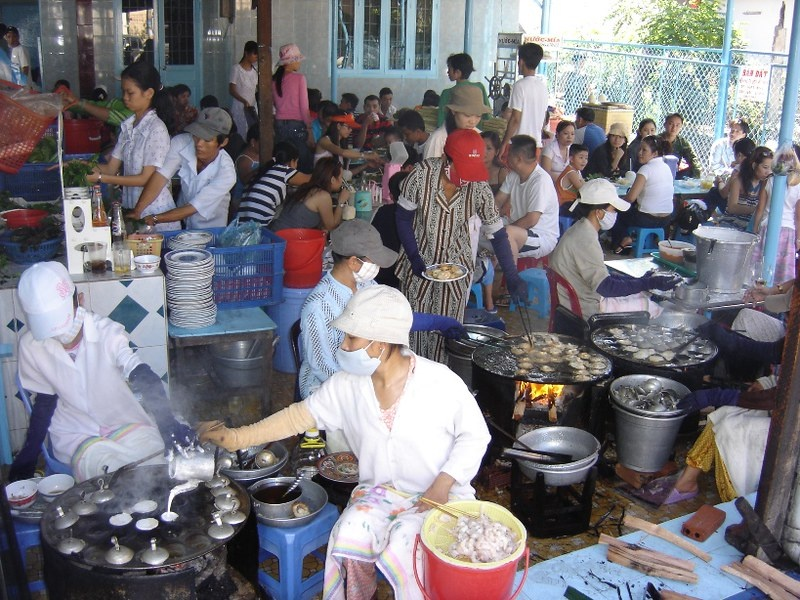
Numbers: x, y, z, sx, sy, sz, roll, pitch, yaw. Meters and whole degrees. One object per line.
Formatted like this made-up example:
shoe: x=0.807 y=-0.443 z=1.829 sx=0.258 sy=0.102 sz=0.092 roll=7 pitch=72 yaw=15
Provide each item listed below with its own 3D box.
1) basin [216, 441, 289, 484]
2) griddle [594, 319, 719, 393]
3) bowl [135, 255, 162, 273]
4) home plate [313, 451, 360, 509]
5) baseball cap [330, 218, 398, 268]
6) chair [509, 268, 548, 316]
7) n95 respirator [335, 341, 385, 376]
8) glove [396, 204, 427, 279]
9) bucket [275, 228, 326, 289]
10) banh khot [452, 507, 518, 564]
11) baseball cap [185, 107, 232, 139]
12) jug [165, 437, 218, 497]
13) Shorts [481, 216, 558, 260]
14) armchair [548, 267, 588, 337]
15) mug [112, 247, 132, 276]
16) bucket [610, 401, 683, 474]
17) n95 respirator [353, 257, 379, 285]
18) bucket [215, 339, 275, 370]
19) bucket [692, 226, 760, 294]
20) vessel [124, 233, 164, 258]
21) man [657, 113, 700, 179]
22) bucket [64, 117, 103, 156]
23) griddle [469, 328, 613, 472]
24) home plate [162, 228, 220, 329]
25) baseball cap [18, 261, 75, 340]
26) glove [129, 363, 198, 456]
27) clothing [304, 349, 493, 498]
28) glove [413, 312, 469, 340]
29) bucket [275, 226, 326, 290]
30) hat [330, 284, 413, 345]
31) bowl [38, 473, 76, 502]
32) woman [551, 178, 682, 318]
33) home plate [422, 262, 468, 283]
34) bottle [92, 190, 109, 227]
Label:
basin: x=-0.864 y=0.978 z=3.705 sx=0.223 sy=0.080 sz=0.222 roll=-2 pitch=18 yaw=1
griddle: x=2.056 y=0.513 z=4.950 sx=0.829 sy=0.276 sz=0.794 roll=3 pitch=17 yaw=39
bowl: x=-1.812 y=-0.257 z=4.467 sx=0.138 sy=0.085 sz=0.139 roll=-8 pitch=27 yaw=4
home plate: x=-0.357 y=1.058 z=3.771 sx=0.283 sy=0.177 sz=0.285 roll=27 pitch=34 yaw=30
baseball cap: x=-0.244 y=-0.383 z=4.265 sx=0.408 sy=0.211 sz=0.272 roll=10 pitch=28 yaw=-10
chair: x=1.369 y=-0.072 z=6.480 sx=0.388 sy=0.368 sz=0.389 roll=15 pitch=26 yaw=35
n95 respirator: x=-0.194 y=0.316 z=3.070 sx=0.155 sy=0.105 sz=0.188 roll=14 pitch=34 yaw=41
glove: x=0.118 y=-0.494 z=5.212 sx=0.168 sy=0.597 sz=0.367 roll=-8 pitch=19 yaw=-28
bucket: x=-0.887 y=-0.395 z=5.626 sx=0.516 sy=0.455 sz=0.474 roll=2 pitch=14 yaw=0
banh khot: x=0.355 y=1.024 z=2.695 sx=0.176 sy=0.053 sz=0.177 roll=9 pitch=18 yaw=28
baseball cap: x=-1.662 y=-1.538 z=5.435 sx=0.366 sy=0.179 sz=0.254 roll=-37 pitch=79 yaw=-31
jug: x=-1.036 y=0.825 z=3.110 sx=0.218 sy=0.297 sz=0.172 roll=-7 pitch=8 yaw=-17
Shorts: x=1.503 y=-0.743 z=7.316 sx=0.744 sy=0.482 sz=0.626 roll=-7 pitch=18 yaw=-3
armchair: x=1.507 y=0.014 z=5.500 sx=0.346 sy=0.543 sz=0.385 roll=0 pitch=33 yaw=6
mug: x=-1.959 y=-0.276 z=4.402 sx=0.142 sy=0.192 sz=0.147 roll=-6 pitch=18 yaw=-23
bucket: x=1.864 y=0.980 z=4.504 sx=0.572 sy=0.521 sz=0.587 roll=-6 pitch=-2 yaw=0
n95 respirator: x=-0.222 y=-0.180 z=4.246 sx=0.158 sy=0.102 sz=0.140 roll=37 pitch=24 yaw=15
bucket: x=-1.309 y=0.435 z=5.097 sx=0.328 sy=0.120 sz=0.319 roll=-1 pitch=13 yaw=0
bucket: x=3.072 y=-0.362 z=5.899 sx=0.570 sy=0.536 sz=0.533 roll=2 pitch=14 yaw=-1
vessel: x=-1.918 y=-0.421 z=4.677 sx=0.238 sy=0.126 sz=0.183 roll=1 pitch=29 yaw=-8
man: x=4.707 y=-2.653 z=10.738 sx=0.786 sy=1.079 sz=0.633 roll=-3 pitch=14 yaw=1
bucket: x=-4.137 y=-2.095 z=8.034 sx=0.460 sy=0.418 sz=0.583 roll=7 pitch=13 yaw=27
griddle: x=0.932 y=0.666 z=4.475 sx=0.771 sy=0.505 sz=0.774 roll=-12 pitch=19 yaw=-37
home plate: x=-1.622 y=-0.126 z=4.856 sx=0.368 sy=0.572 sz=0.576 roll=-4 pitch=17 yaw=-17
baseball cap: x=-1.816 y=0.035 z=3.265 sx=0.260 sy=0.411 sz=0.211 roll=-7 pitch=-8 yaw=-7
glove: x=-1.293 y=0.583 z=3.386 sx=0.137 sy=0.560 sz=0.168 roll=-32 pitch=-6 yaw=0
clothing: x=0.067 y=0.595 z=3.432 sx=1.141 sy=0.882 sz=0.658 roll=2 pitch=16 yaw=21
glove: x=0.331 y=0.206 z=4.921 sx=0.615 sy=0.185 sz=0.146 roll=10 pitch=0 yaw=-29
bucket: x=-0.854 y=-0.385 z=5.483 sx=0.519 sy=0.454 sz=0.478 roll=2 pitch=13 yaw=0
hat: x=-0.122 y=0.080 z=3.042 sx=0.317 sy=0.196 sz=0.279 roll=14 pitch=10 yaw=-29
bowl: x=-1.841 y=1.017 z=3.356 sx=0.157 sy=0.066 sz=0.158 roll=4 pitch=24 yaw=-2
woman: x=2.293 y=-0.572 z=6.586 sx=1.217 sy=1.739 sz=0.902 roll=-14 pitch=37 yaw=0
home plate: x=0.383 y=-0.220 z=5.134 sx=0.210 sy=0.036 sz=0.212 roll=-3 pitch=29 yaw=-4
bottle: x=-2.194 y=-0.677 z=4.517 sx=0.100 sy=0.264 sz=0.239 roll=-7 pitch=18 yaw=-25
